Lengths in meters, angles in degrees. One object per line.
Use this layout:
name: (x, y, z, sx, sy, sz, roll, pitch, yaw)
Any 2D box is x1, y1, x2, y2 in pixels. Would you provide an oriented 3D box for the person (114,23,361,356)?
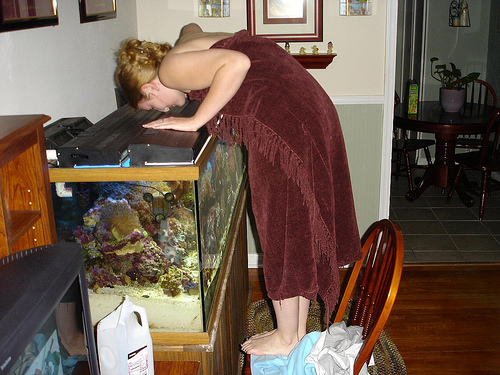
person: (-0.048, 0.040, 1.636, 0.822, 1.230, 0.651, -2, 10, 20)

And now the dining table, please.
dining table: (2.024, -0.351, 4.429, 1.043, 0.846, 1.111, 0, 31, 11)

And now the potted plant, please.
potted plant: (2.030, -1.047, 4.200, 0.497, 0.524, 0.498, -1, 7, -18)

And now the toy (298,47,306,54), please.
toy: (0.347, -0.899, 2.688, 0.046, 0.055, 0.048, 2, 21, 13)
